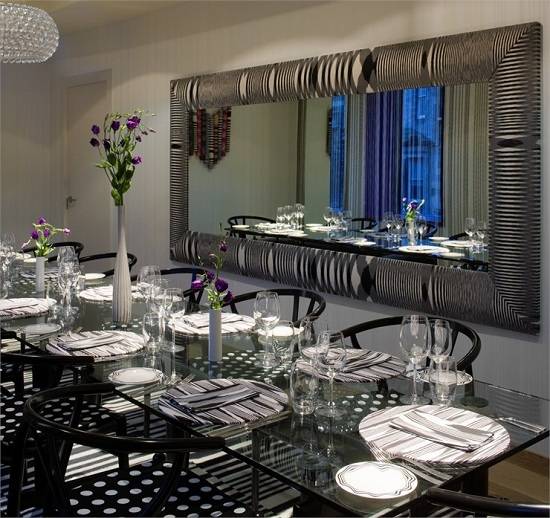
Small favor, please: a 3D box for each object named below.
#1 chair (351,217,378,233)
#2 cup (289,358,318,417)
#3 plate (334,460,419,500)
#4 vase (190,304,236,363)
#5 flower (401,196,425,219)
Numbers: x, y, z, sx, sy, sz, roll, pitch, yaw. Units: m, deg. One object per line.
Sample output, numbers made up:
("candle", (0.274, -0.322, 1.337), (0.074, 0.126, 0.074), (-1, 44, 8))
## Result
("chair", (0.600, -0.234, 3.406), (0.126, 0.138, 0.103), (3, 1, 25))
("cup", (0.075, 0.331, 1.310), (0.070, 0.124, 0.102), (1, 6, 1))
("plate", (0.191, 0.413, 0.943), (0.156, 0.015, 0.131), (1, 6, 1))
("vase", (-0.203, 0.271, 1.872), (0.179, 0.131, 0.185), (-3, 6, -33))
("flower", (0.846, -0.329, 3.127), (0.124, 0.116, 0.029), (13, 8, 43))
